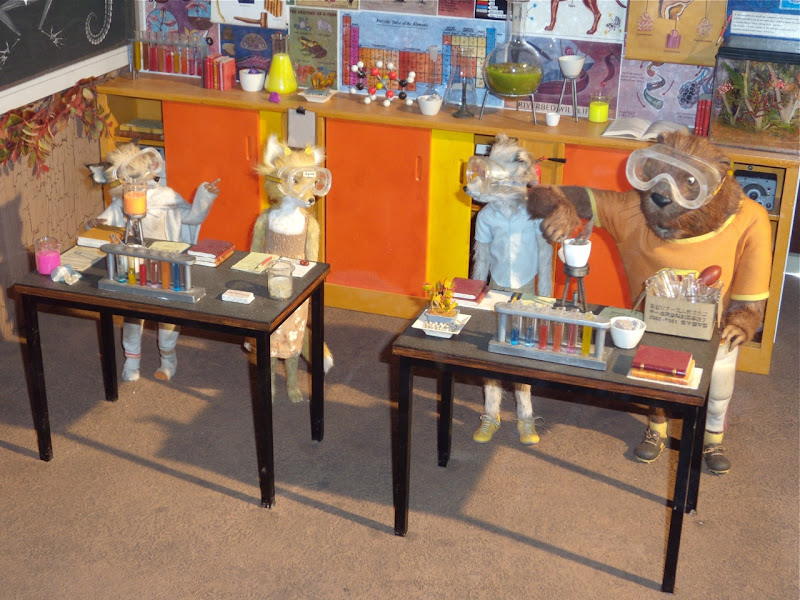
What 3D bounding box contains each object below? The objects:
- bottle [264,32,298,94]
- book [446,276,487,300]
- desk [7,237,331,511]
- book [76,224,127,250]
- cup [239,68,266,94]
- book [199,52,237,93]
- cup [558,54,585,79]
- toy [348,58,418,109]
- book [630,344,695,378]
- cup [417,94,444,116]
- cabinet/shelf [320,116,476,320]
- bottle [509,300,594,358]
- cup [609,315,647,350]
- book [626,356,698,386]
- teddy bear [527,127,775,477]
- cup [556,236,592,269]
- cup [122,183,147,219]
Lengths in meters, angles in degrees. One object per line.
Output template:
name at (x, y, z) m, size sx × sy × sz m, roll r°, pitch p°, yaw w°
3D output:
bottle at (-0.849, -1.684, 5.353) m, size 0.250 × 0.389 × 0.398 m, roll 0°, pitch 24°, yaw -10°
book at (0.320, -0.058, 3.518) m, size 0.117 × 0.027 × 0.117 m, roll 7°, pitch 27°, yaw 11°
desk at (-1.087, 0.658, 4.275) m, size 1.940 × 1.430 × 1.198 m, roll 8°, pitch 30°, yaw 13°
book at (-1.676, -0.355, 4.209) m, size 0.225 × 0.053 × 0.212 m, roll 2°, pitch 21°, yaw -1°
cup at (-1.060, -1.566, 5.392) m, size 0.178 × 0.133 × 0.180 m, roll 3°, pitch 22°, yaw -1°
book at (-1.263, -1.605, 5.423) m, size 0.238 × 0.317 × 0.325 m, roll 11°, pitch 20°, yaw 21°
cup at (1.105, -1.495, 4.802) m, size 0.155 × 0.111 × 0.155 m, roll -2°, pitch 30°, yaw 1°
toy at (-0.147, -1.511, 5.218) m, size 0.489 × 0.270 × 0.362 m, roll 8°, pitch 23°, yaw 7°
book at (1.038, 0.240, 2.952) m, size 0.144 × 0.034 × 0.144 m, roll 5°, pitch 28°, yaw 24°
cup at (0.197, -1.316, 4.977) m, size 0.168 × 0.116 × 0.168 m, roll -1°, pitch 22°, yaw 0°
cabinet/shelf at (0.008, -0.598, 4.896) m, size 1.012 × 1.336 × 0.728 m, roll 8°, pitch 22°, yaw 15°
bottle at (0.619, 0.106, 3.070) m, size 0.365 × 0.175 × 0.161 m, roll 9°, pitch 24°, yaw 11°
cup at (0.963, 0.130, 3.154) m, size 0.144 × 0.102 × 0.145 m, roll -1°, pitch 21°, yaw 0°
book at (1.068, 0.291, 2.928) m, size 0.323 × 0.061 × 0.143 m, roll -2°, pitch 24°, yaw -16°
teddy bear at (1.263, 0.039, 3.691) m, size 1.342 × 1.737 × 0.883 m, roll 17°, pitch 37°, yaw 30°
cup at (0.707, -0.193, 3.029) m, size 0.134 × 0.104 × 0.108 m, roll 1°, pitch 22°, yaw 11°
cup at (-1.250, -0.469, 3.519) m, size 0.099 × 0.172 × 0.188 m, roll -4°, pitch 25°, yaw -20°
